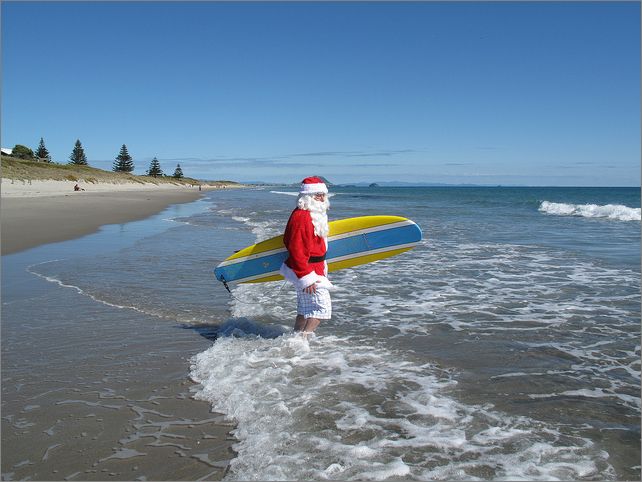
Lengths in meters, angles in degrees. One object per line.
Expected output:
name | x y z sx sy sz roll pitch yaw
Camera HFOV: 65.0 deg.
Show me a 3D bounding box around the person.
person | -0.181 0.196 5.642 0.555 1.819 0.504 -2 12 -2
